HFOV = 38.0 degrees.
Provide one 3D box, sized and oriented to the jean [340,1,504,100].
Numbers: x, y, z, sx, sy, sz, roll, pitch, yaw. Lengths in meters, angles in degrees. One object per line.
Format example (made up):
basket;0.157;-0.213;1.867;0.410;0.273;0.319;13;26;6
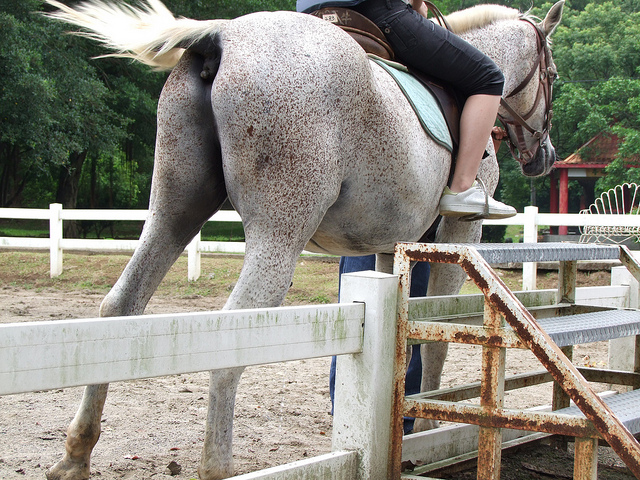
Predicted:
jean;0.795;-1.303;6.390;0.686;0.790;0.561;0;14;-14

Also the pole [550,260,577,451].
pole;1.620;0.779;6.167;0.204;1.453;0.226;4;8;22
